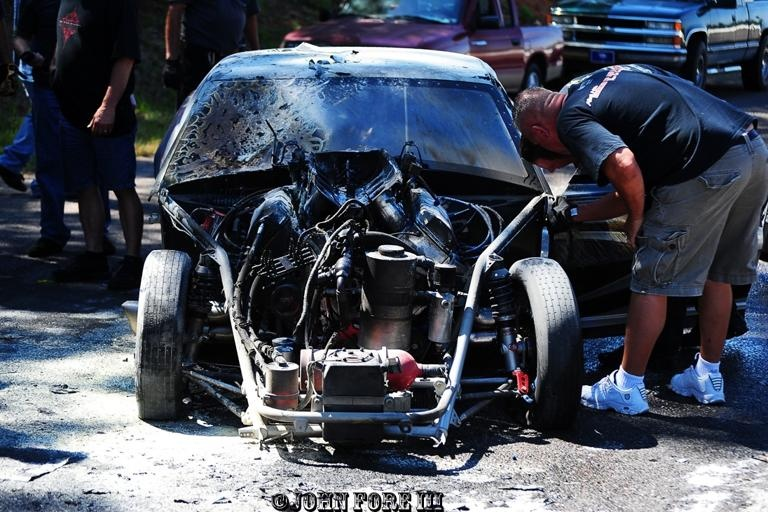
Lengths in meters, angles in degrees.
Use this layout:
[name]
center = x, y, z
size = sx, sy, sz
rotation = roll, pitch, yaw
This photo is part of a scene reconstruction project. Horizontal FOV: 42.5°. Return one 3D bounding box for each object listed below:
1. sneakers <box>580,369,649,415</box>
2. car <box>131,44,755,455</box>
[sneakers]
center = 1.517, 0.881, 6.477
size = 0.570, 0.255, 0.229
rotation = 4, 4, 14
[car]
center = -0.028, 0.030, 7.000
size = 2.787, 1.437, 3.278
rotation = -1, 13, 1
